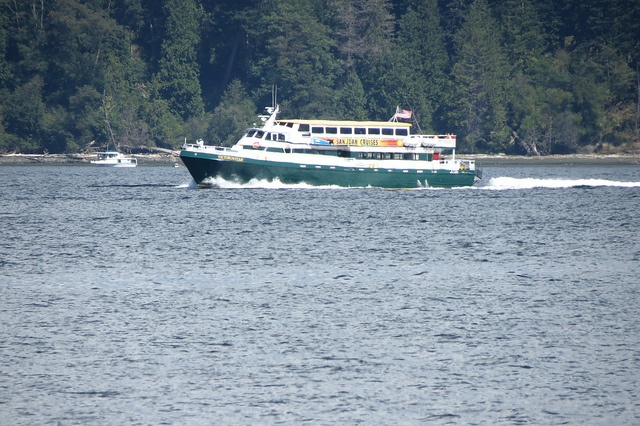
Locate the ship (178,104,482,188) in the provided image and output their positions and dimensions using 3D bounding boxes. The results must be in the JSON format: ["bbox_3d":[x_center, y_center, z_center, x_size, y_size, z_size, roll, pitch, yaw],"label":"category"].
[{"bbox_3d":[1.539,-7.230,181.123,41.392,10.078,9.249,2,-6,-31],"label":"ship"}]

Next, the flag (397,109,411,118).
[{"bbox_3d":[10.303,-11.894,178.044,1.636,1.487,0.498,0,-26,0],"label":"flag"}]
